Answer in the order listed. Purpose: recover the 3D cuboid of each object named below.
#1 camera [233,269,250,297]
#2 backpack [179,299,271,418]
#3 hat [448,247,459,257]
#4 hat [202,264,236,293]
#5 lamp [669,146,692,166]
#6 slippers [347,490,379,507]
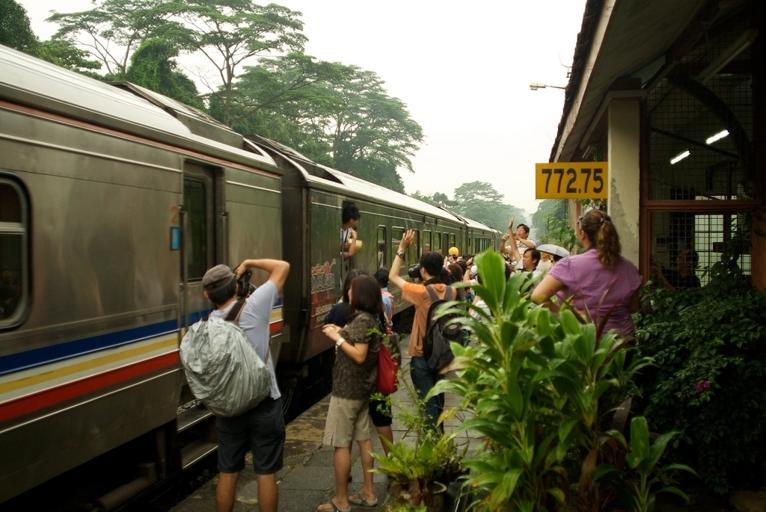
[{"bbox_3d":[-1.254,0.252,4.779,0.085,0.220,0.148,5,-2,-43],"label":"camera"},{"bbox_3d":[-1.240,0.861,4.092,0.658,0.747,0.203,0,3,-11],"label":"backpack"},{"bbox_3d":[1.849,-0.121,13.800,0.244,0.302,0.318,13,11,15],"label":"hat"},{"bbox_3d":[-1.344,0.172,4.304,0.241,0.195,0.159,0,3,-17],"label":"hat"},{"bbox_3d":[4.270,-1.431,7.527,0.195,0.052,0.196,-41,7,4],"label":"lamp"},{"bbox_3d":[-0.193,2.290,4.954,0.283,0.110,0.115,5,0,29],"label":"slippers"}]
